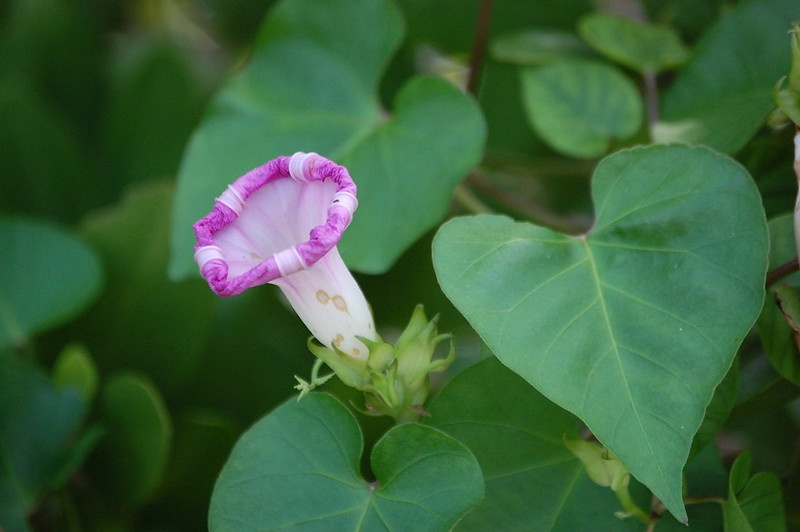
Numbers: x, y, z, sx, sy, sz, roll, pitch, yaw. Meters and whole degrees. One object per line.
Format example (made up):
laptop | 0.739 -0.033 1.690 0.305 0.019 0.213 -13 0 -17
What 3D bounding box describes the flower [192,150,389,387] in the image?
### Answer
flower | -0.147 0.048 1.449 0.262 0.332 0.258 -47 33 -23
